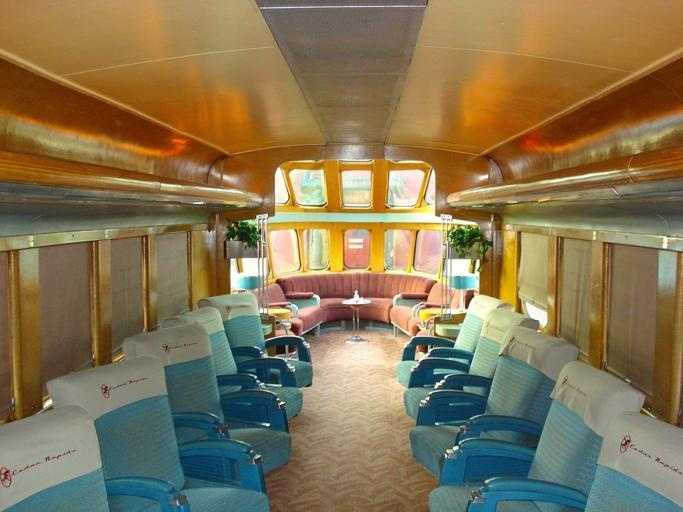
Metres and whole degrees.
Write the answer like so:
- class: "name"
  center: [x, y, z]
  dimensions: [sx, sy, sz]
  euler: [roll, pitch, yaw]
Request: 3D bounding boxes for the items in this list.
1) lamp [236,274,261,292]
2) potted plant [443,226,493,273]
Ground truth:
- class: "lamp"
  center: [-1.518, 0.439, 7.051]
  dimensions: [0.305, 0.167, 0.293]
  euler: [-3, 4, -42]
- class: "potted plant"
  center: [1.912, -0.132, 6.837]
  dimensions: [0.768, 0.534, 0.815]
  euler: [0, 9, 6]
